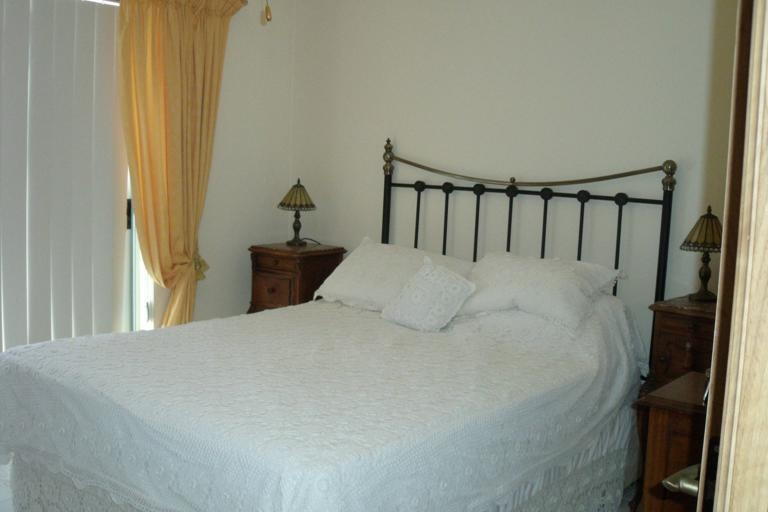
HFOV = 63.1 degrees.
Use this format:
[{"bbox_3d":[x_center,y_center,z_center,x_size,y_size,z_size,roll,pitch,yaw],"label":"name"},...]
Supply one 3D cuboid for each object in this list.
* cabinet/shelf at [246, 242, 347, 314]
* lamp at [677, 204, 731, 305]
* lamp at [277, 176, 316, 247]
[{"bbox_3d":[-0.686,0.271,4.660,0.636,0.730,0.615,5,6,15],"label":"cabinet/shelf"},{"bbox_3d":[1.648,-0.032,3.237,0.184,0.479,0.303,8,15,28],"label":"lamp"},{"bbox_3d":[-0.649,-0.334,4.650,0.257,0.487,0.267,0,10,-16],"label":"lamp"}]
